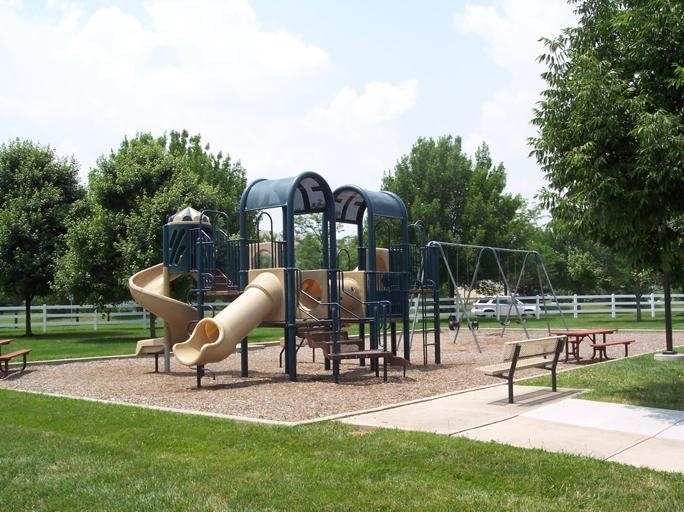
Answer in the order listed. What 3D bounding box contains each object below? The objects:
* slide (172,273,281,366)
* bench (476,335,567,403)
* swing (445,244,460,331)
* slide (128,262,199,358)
[{"bbox_3d":[-2.366,1.311,17.330,2.394,1.879,1.043,-3,3,-40],"label":"slide"},{"bbox_3d":[3.521,2.103,15.262,1.848,1.209,0.693,-2,6,-40],"label":"bench"},{"bbox_3d":[4.049,1.290,28.577,0.428,2.811,0.447,5,-5,-18],"label":"swing"},{"bbox_3d":[-4.446,1.172,19.415,1.291,2.888,1.245,0,0,-33],"label":"slide"}]
